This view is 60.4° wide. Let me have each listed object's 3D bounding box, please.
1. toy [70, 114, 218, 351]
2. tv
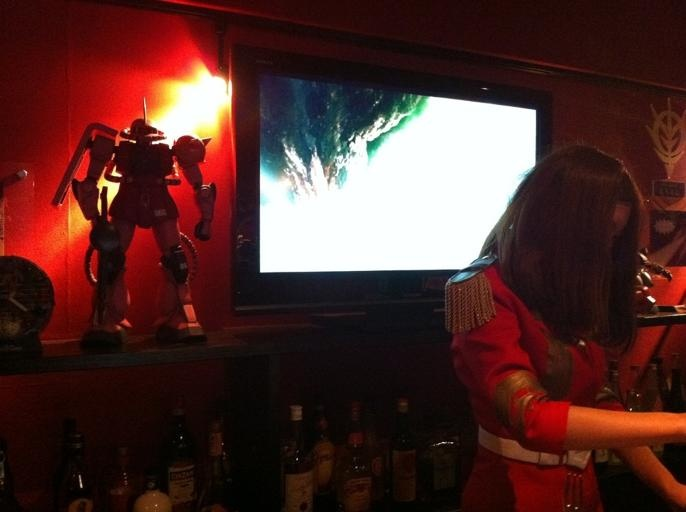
[{"bbox_3d":[-0.554,-0.070,1.654,0.385,0.627,0.124,1,-5,-26],"label":"toy"},{"bbox_3d":[0.117,-0.255,1.983,0.992,0.703,0.072,0,1,-24],"label":"tv"}]
